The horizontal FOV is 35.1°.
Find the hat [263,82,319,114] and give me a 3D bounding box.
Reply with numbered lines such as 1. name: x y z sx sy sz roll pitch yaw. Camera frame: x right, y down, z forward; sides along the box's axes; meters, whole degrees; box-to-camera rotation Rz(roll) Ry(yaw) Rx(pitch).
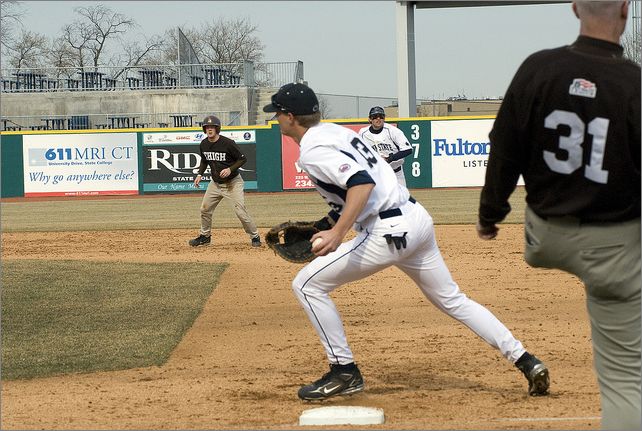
1. hat: -0.340 -1.179 10.327 0.611 0.348 0.472 7 12 12

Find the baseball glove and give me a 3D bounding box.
1. baseball glove: -0.204 0.227 10.234 0.569 0.320 0.370 14 40 38

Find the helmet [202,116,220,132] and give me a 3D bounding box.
1. helmet: -1.768 -1.479 16.489 0.231 0.244 0.305 -3 -7 24

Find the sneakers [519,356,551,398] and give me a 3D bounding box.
1. sneakers: 2.145 1.577 10.190 0.242 0.521 0.191 24 62 43

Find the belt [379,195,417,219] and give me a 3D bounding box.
1. belt: 0.773 -0.050 10.146 0.298 0.128 0.219 -31 22 6

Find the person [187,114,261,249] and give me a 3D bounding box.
1. person: -1.630 -0.485 16.492 1.067 2.171 0.679 5 16 26
